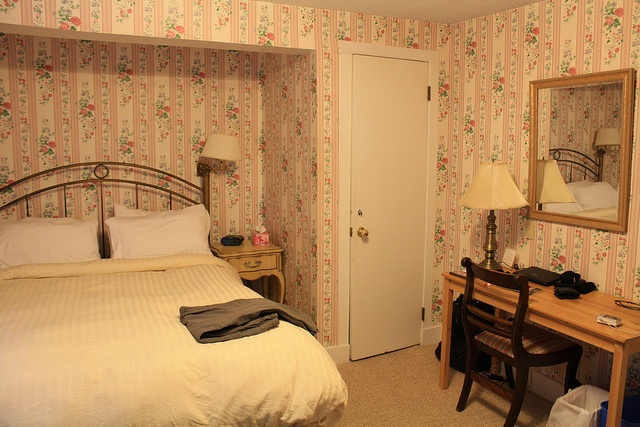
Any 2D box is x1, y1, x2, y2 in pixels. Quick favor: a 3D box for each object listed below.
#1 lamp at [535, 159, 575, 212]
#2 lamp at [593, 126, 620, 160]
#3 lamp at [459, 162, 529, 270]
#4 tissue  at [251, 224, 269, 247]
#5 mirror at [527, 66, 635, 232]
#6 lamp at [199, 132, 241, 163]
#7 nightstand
[{"bbox_3d":[1.803,-0.231,3.859,0.294,0.342,0.300,-6,-3,3],"label":"lamp"},{"bbox_3d":[2.082,-0.525,3.492,0.145,0.201,0.176,-1,0,-10],"label":"lamp"},{"bbox_3d":[1.370,0.031,3.815,0.493,0.853,0.283,2,6,23],"label":"lamp"},{"bbox_3d":[-0.592,0.223,4.869,0.231,0.315,0.174,0,3,-2],"label":"tissue "},{"bbox_3d":[1.966,-0.451,3.679,0.104,1.167,0.748,-5,7,-38],"label":"mirror"},{"bbox_3d":[-0.941,-0.625,4.610,0.284,0.167,0.278,14,7,-26],"label":"lamp"},{"bbox_3d":[-0.686,0.437,4.785,0.659,0.771,0.584,-3,8,-26],"label":"nightstand"}]
